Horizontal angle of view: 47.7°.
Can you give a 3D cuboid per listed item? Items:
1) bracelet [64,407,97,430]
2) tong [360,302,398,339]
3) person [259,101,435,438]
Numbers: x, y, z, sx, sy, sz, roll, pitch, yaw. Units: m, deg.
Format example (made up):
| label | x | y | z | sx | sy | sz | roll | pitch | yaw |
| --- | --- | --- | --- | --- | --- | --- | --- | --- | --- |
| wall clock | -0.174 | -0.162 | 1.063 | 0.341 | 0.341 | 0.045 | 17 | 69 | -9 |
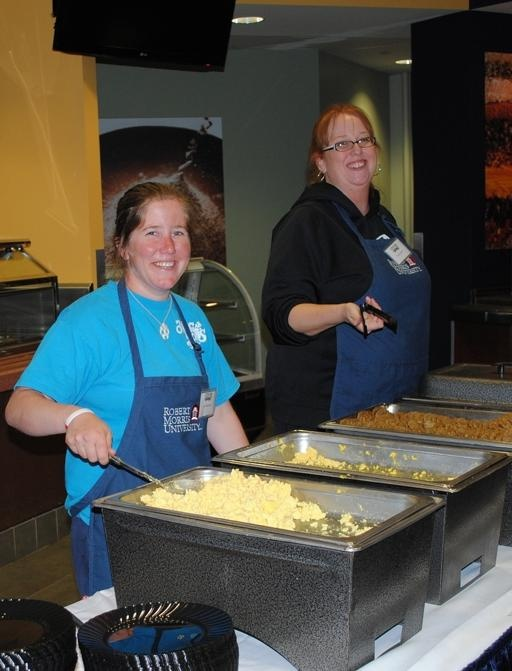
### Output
| label | x | y | z | sx | sy | sz | roll | pitch | yaw |
| --- | --- | --- | --- | --- | --- | --- | --- | --- | --- |
| bracelet | -0.285 | 0.129 | 0.955 | 0.037 | 0.010 | 0.039 | -47 | 29 | -19 |
| tong | 0.293 | -0.037 | 1.404 | 0.013 | 0.088 | 0.072 | -48 | 8 | -32 |
| person | 0.236 | -0.196 | 1.628 | 0.479 | 0.985 | 0.738 | 0 | 9 | 16 |
